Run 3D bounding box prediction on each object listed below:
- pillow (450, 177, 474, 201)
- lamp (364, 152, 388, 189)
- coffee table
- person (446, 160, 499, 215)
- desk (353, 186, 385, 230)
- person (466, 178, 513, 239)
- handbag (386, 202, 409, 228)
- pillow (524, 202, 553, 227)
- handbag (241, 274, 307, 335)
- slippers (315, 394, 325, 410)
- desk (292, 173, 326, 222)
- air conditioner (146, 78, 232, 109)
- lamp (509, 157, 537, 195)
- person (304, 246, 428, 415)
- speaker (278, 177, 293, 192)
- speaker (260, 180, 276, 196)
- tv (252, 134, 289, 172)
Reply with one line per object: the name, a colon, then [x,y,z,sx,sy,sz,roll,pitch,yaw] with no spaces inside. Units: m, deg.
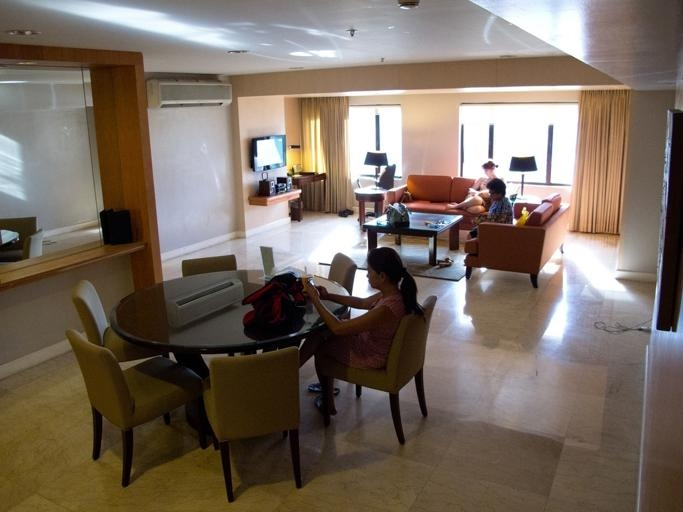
pillow: [2.217,-1.225,9.468,0.388,0.408,0.406,5,15,17]
lamp: [0.770,-1.755,10.340,0.449,0.644,0.581,6,17,28]
coffee table: [1.229,-0.486,7.804,1.020,0.498,1.055,7,20,29]
person: [2.292,-1.137,8.839,1.004,0.866,0.432,-17,24,-35]
desk: [0.572,-0.946,10.114,0.759,0.863,0.827,0,14,5]
person: [2.037,-0.721,7.045,0.536,0.828,0.386,2,48,15]
handbag: [0.821,-0.594,7.610,0.319,0.334,0.327,-6,17,-9]
pillow: [2.624,-0.557,6.831,0.224,0.192,0.822,7,18,31]
handbag: [-0.464,0.325,3.615,0.436,0.255,0.546,-3,15,-3]
slippers: [-0.177,1.159,4.126,0.105,0.028,0.115,9,23,14]
desk: [-0.692,-1.270,11.091,0.453,0.677,0.878,8,17,21]
air conditioner: [-2.322,-2.513,8.006,0.233,0.387,1.381,10,20,39]
lamp: [3.177,-1.367,8.990,0.423,0.742,0.865,4,16,24]
person: [0.100,0.585,3.794,0.968,1.357,0.581,15,17,20]
speaker: [-1.090,-1.343,9.799,0.263,0.269,0.445,-4,15,-7]
speaker: [-1.344,-1.262,9.457,0.294,0.300,0.260,12,20,39]
tv: [-1.365,-1.921,9.630,0.113,0.618,1.008,9,19,27]
